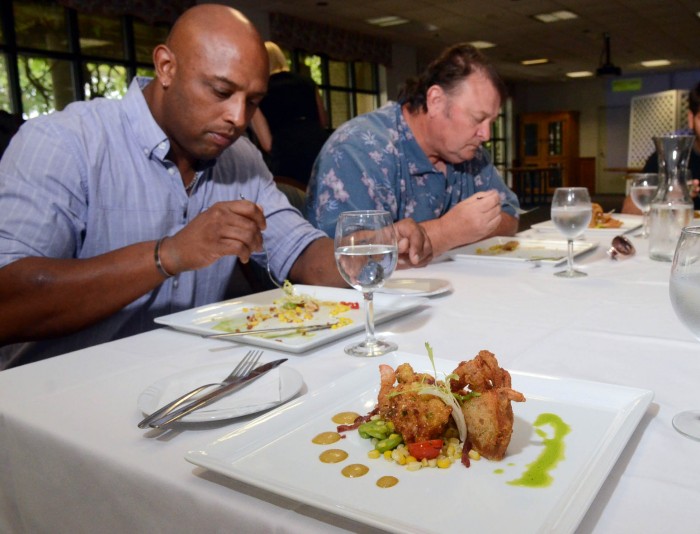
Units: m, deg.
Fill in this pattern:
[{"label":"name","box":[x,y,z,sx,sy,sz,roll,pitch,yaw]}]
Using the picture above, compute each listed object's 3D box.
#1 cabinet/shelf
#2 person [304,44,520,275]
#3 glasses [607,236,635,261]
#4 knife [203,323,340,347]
[{"label":"cabinet/shelf","box":[6.097,-3.540,16.635,1.742,2.233,1.253,0,16,17]},{"label":"person","box":[0.306,-0.460,2.474,0.753,0.967,1.254,12,12,41]},{"label":"glasses","box":[0.857,-0.067,1.730,0.091,0.067,0.040,0,-13,-16]},{"label":"knife","box":[-0.148,0.135,1.073,0.309,0.015,0.041,0,49,-25]}]
